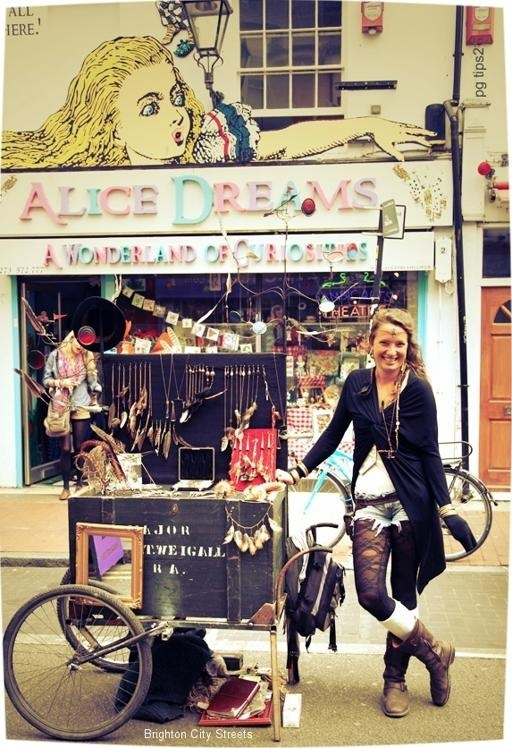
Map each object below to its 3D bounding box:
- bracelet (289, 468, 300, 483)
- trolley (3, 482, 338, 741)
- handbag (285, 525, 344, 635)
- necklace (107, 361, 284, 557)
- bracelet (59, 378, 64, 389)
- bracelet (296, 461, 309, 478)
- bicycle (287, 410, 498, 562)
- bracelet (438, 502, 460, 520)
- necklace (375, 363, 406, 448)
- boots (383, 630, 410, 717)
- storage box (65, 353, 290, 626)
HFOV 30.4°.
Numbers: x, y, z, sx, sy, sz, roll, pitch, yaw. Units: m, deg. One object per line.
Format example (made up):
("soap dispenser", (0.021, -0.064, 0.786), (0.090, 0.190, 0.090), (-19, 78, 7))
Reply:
("bracelet", (0.205, 0.586, 5.328), (0.055, 0.088, 0.074), (1, -1, -34))
("trolley", (-0.576, 1.290, 5.308), (1.513, 1.291, 1.169), (-1, 1, 1))
("handbag", (0.336, 1.223, 5.307), (0.266, 0.528, 0.421), (7, -10, 16))
("necklace", (-0.307, 0.505, 5.321), (1.001, 0.785, 0.045), (-1, -2, 2))
("bracelet", (-1.903, 0.100, 9.169), (0.035, 0.101, 0.071), (-7, -8, -1))
("bracelet", (0.260, 0.550, 5.387), (0.030, 0.072, 0.081), (-11, 46, 3))
("bicycle", (1.043, 0.980, 8.116), (2.134, 1.375, 1.027), (1, 38, 7))
("bracelet", (1.018, 0.742, 5.068), (0.084, 0.091, 0.172), (1, 6, 9))
("necklace", (0.744, 0.225, 5.136), (0.152, 0.455, 0.101), (0, 5, -1))
("boots", (0.736, 1.669, 5.139), (0.133, 0.363, 0.365), (-9, -5, 19))
("storage box", (-0.424, 0.586, 5.304), (1.040, 1.483, 0.793), (0, 1, 3))
